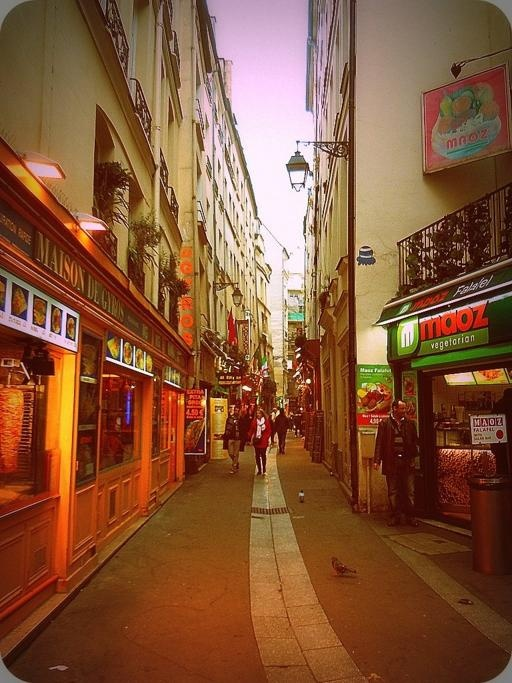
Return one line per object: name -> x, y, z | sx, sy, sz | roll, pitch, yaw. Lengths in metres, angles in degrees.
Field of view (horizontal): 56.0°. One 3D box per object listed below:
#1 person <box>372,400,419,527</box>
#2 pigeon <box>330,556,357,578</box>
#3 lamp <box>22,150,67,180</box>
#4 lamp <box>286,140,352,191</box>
person -> 2.338, 1.963, 7.836 | 0.587, 1.908, 0.834 | -7, -10, 42
pigeon -> 0.939, 2.363, 5.110 | 0.232, 0.166, 0.406 | -2, -10, 13
lamp -> -1.587, -1.310, 3.622 | 0.194, 0.059, 0.219 | 11, -13, -17
lamp -> 1.376, -3.567, 9.962 | 1.362, 1.017, 0.367 | 4, 9, 13
